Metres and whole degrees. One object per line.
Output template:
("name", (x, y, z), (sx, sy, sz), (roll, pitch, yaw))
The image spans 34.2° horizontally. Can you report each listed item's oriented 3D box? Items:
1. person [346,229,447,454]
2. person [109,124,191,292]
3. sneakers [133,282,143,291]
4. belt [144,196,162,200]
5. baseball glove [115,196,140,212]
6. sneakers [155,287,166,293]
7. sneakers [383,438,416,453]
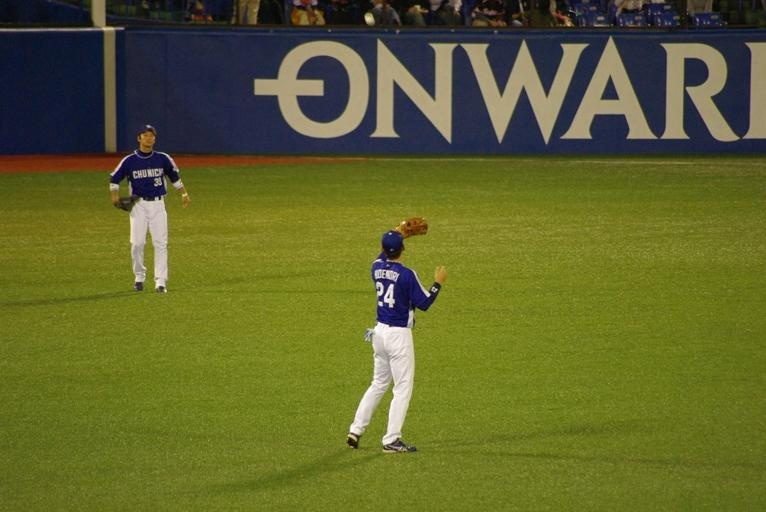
("person", (0.141, 1.161, 16.131), (0.857, 2.812, 0.980), (9, 17, 29))
("person", (-3.991, -0.781, 20.855), (1.085, 2.712, 0.916), (-3, 16, -12))
("sneakers", (-4.138, 0.520, 21.003), (0.166, 0.162, 0.100), (4, 1, 3))
("belt", (-3.852, -0.969, 20.685), (0.297, 0.080, 0.060), (-6, 16, -23))
("baseball glove", (-4.233, -0.867, 20.628), (0.277, 0.117, 0.273), (1, 37, 21))
("sneakers", (-3.742, 0.573, 20.832), (0.102, 0.099, 0.225), (0, -3, -18))
("sneakers", (0.201, 2.497, 16.329), (0.474, 0.208, 0.170), (0, 4, -2))
